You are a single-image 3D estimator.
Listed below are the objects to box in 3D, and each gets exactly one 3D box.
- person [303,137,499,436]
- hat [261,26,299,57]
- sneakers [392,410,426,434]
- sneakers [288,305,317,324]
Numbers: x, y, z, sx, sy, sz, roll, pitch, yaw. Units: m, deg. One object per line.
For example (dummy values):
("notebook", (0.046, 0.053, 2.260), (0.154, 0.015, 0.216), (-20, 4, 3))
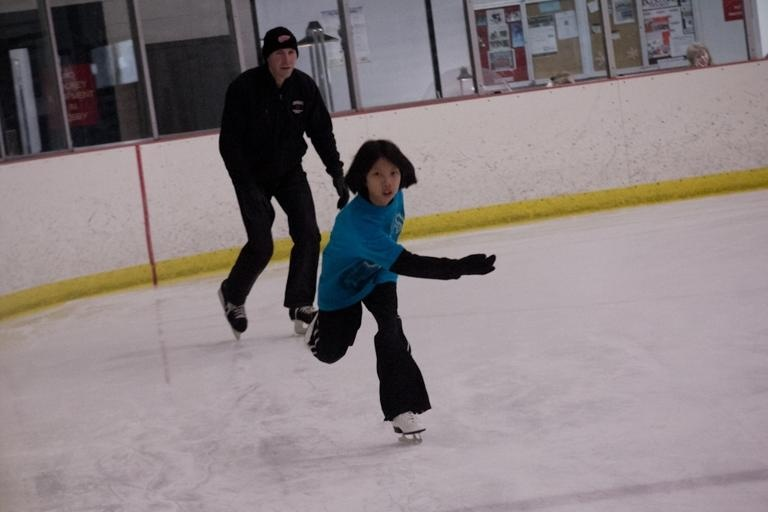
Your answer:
("person", (0.015, 0.107, 3.525), (0.486, 1.292, 1.111), (-14, 12, -28))
("hat", (-0.640, -1.292, 4.548), (0.186, 0.158, 0.190), (-7, 16, -7))
("sneakers", (0.100, 0.740, 3.338), (0.171, 0.076, 0.066), (1, 8, 34))
("sneakers", (-0.507, 0.359, 4.584), (0.234, 0.098, 0.087), (-11, -12, 42))
